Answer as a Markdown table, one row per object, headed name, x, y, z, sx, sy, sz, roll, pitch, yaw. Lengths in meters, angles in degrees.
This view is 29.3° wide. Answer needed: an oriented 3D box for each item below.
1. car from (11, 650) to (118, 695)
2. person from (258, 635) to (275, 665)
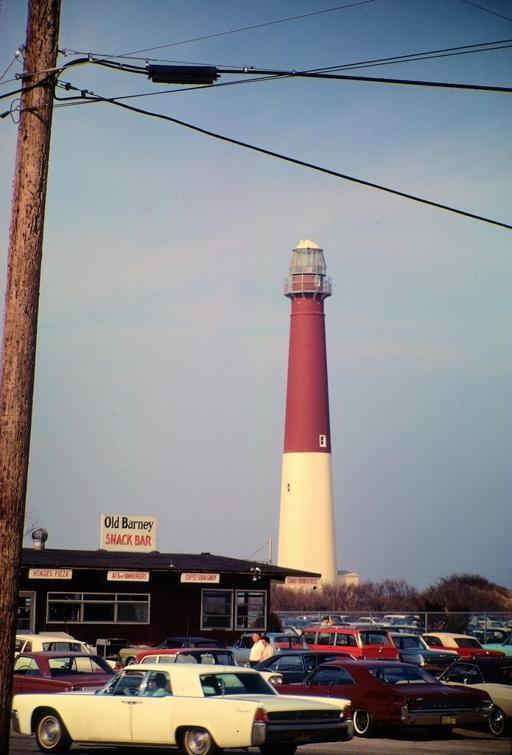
| name | x | y | z | sx | sy | sz | roll | pitch | yaw |
| --- | --- | --- | --- | --- | --- | --- | --- | --- | --- |
| car | -3.299 | 4.925 | 16.388 | 1.819 | 0.807 | 1.091 | -4 | -11 | 33 |
| person | 0.109 | 6.282 | 22.618 | 0.440 | 0.529 | 1.138 | 3 | -11 | 1 |
